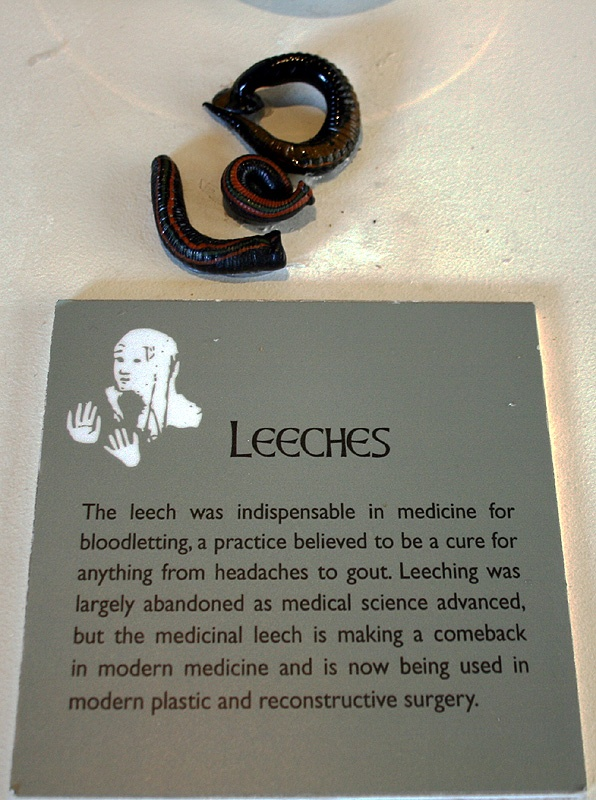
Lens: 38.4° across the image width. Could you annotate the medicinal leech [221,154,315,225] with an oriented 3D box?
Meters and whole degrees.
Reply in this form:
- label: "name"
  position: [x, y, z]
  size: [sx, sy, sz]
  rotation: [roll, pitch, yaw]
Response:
- label: "medicinal leech"
  position: [-0.064, -0.401, 1.649]
  size: [0.185, 0.068, 0.138]
  rotation: [32, 59, 16]
